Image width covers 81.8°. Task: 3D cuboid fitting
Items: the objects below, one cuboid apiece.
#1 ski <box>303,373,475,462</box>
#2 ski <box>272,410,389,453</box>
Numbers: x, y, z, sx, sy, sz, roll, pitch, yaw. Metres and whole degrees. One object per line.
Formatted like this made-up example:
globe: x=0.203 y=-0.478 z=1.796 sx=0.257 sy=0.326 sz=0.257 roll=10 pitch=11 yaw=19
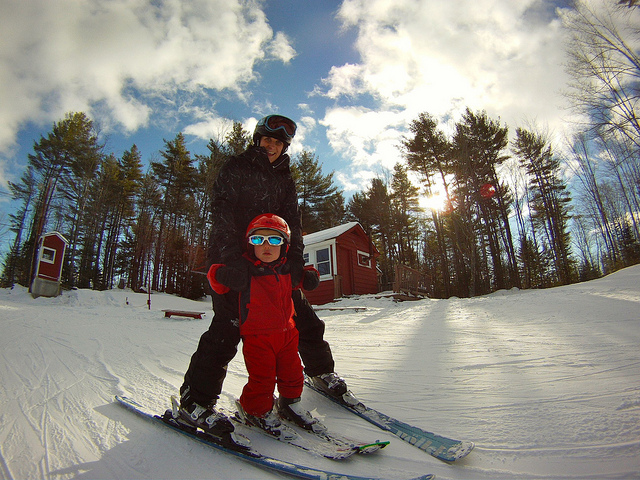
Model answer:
ski: x=0.565 y=1.463 z=3.020 sx=0.202 sy=0.159 sz=1.887 roll=2 pitch=-8 yaw=-31
ski: x=0.001 y=1.447 z=3.020 sx=0.175 sy=0.153 sz=1.272 roll=20 pitch=-17 yaw=-42
